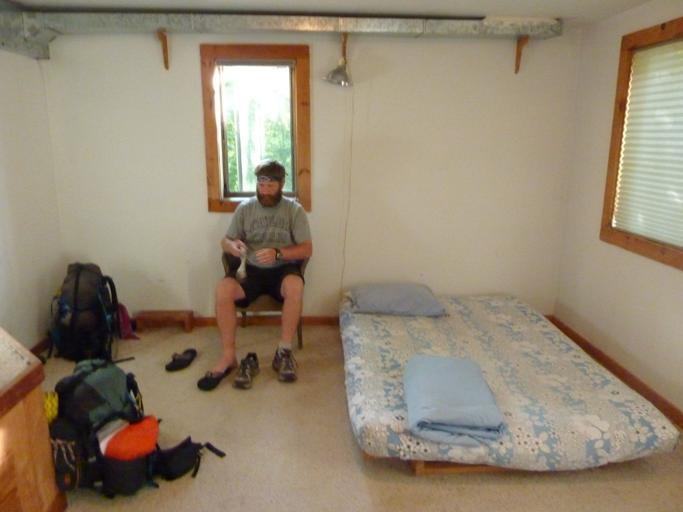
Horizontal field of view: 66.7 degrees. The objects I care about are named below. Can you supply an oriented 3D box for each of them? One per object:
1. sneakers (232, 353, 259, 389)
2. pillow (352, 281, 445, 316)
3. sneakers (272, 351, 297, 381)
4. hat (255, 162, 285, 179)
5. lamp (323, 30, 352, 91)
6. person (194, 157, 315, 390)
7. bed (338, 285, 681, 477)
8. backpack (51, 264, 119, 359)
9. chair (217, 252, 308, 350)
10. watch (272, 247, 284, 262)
[{"bbox_3d":[-0.683,0.805,3.709,0.134,0.134,0.359,8,17,3],"label":"sneakers"},{"bbox_3d":[0.434,0.343,4.117,0.458,0.130,0.347,1,17,-3],"label":"pillow"},{"bbox_3d":[-0.406,0.768,3.751,0.114,0.227,0.317,6,3,-15],"label":"sneakers"},{"bbox_3d":[-0.538,-0.652,3.879,0.134,0.149,0.165,23,30,20],"label":"hat"},{"bbox_3d":[-0.034,-1.517,4.035,0.214,0.396,0.182,-2,16,-1],"label":"lamp"},{"bbox_3d":[-0.607,0.049,3.929,0.754,1.473,1.005,-2,16,-3],"label":"person"},{"bbox_3d":[0.953,0.801,3.558,1.860,0.424,1.578,-2,16,-2],"label":"bed"},{"bbox_3d":[-1.998,0.433,3.966,0.501,0.660,0.420,-5,17,-14],"label":"backpack"},{"bbox_3d":[-0.643,0.344,4.278,0.718,0.934,0.732,0,5,-5],"label":"chair"},{"bbox_3d":[-0.473,-0.007,3.851,0.056,0.084,0.076,-15,13,-25],"label":"watch"}]
